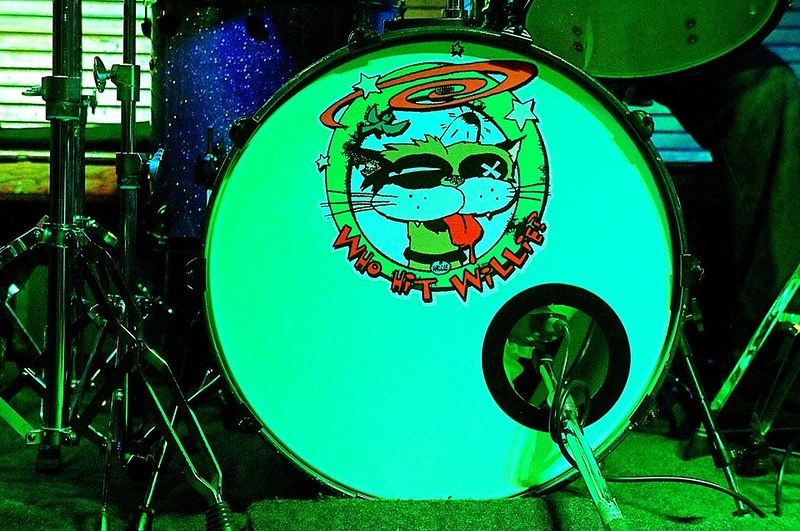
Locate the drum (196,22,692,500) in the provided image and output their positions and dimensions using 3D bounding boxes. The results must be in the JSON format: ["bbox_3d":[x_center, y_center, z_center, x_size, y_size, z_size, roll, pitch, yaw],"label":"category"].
[{"bbox_3d":[0.108,-0.014,2.352,1.190,1.280,0.473,-2,4,-2],"label":"drum"}]
